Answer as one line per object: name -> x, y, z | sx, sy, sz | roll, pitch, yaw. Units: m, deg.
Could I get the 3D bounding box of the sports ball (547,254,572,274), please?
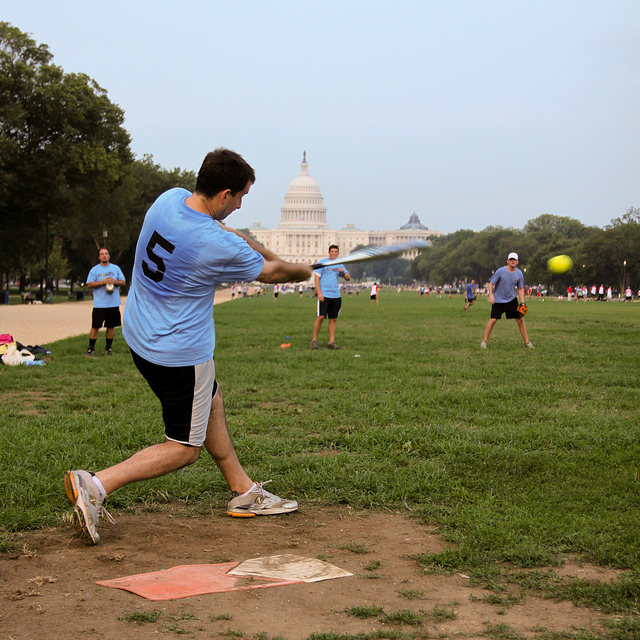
sports ball -> 3.140, -0.727, 10.320 | 0.361, 0.239, 0.413 | 4, 8, 36

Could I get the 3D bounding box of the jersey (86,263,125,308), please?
jersey -> -3.891, -0.642, 14.584 | 0.619, 0.816, 0.403 | -7, 13, -24

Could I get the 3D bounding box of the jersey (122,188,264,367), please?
jersey -> -0.807, -0.250, 4.896 | 0.853, 1.069, 0.290 | 2, 4, 22

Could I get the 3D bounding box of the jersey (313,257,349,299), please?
jersey -> 0.213, -0.758, 16.056 | 0.472, 0.656, 0.882 | 0, 5, -2

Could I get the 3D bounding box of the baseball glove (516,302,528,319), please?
baseball glove -> 4.221, -0.204, 16.443 | 0.158, 0.241, 0.315 | 2, -12, -18

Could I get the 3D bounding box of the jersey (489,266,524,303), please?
jersey -> 3.917, -0.740, 16.459 | 0.653, 0.752, 0.560 | 0, 4, -6

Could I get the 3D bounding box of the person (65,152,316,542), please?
person -> -0.820, 0.169, 5.108 | 1.385, 2.426, 0.881 | 0, 4, -2
